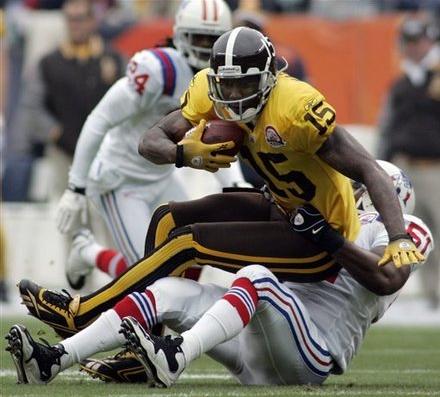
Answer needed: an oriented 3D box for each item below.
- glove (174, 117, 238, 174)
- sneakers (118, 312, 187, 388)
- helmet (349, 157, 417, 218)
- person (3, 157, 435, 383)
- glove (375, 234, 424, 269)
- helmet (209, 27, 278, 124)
[{"bbox_3d":[-0.040,-0.233,3.789,0.190,0.295,0.181,38,31,-1],"label":"glove"},{"bbox_3d":[-0.278,0.637,3.477,0.263,0.322,0.090,-3,28,-7],"label":"sneakers"},{"bbox_3d":[0.852,-0.022,4.232,0.307,0.268,0.241,-19,12,24],"label":"helmet"},{"bbox_3d":[-0.021,0.488,3.959,1.684,1.092,0.845,13,-14,-22],"label":"person"},{"bbox_3d":[0.751,0.223,3.456,0.150,0.143,0.212,12,29,20],"label":"glove"},{"bbox_3d":[0.140,-0.556,3.779,0.289,0.362,0.399,3,39,21],"label":"helmet"}]
